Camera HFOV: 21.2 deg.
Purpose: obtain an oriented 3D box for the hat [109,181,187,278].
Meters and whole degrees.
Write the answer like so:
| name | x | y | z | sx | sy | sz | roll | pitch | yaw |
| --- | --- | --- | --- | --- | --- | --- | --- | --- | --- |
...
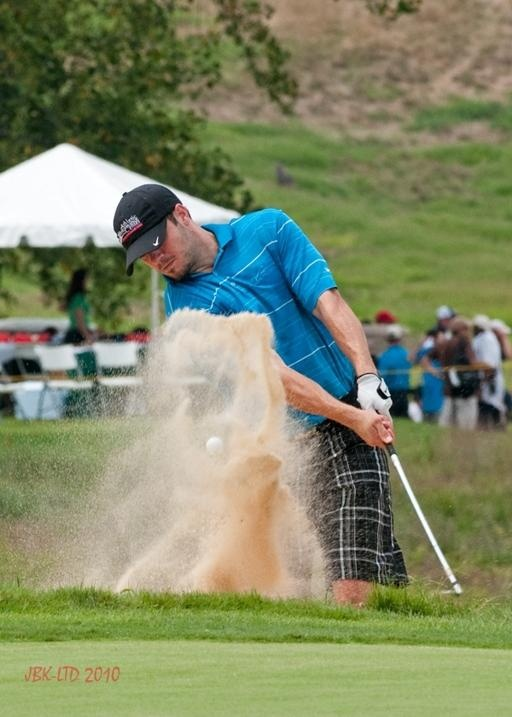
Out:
| name | x | y | z | sx | sy | sz | roll | pitch | yaw |
| --- | --- | --- | --- | --- | --- | --- | --- | --- | --- |
| hat | -0.409 | -0.498 | 5.171 | 0.234 | 0.200 | 0.329 | -27 | 22 | 42 |

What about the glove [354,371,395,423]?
| name | x | y | z | sx | sy | sz | roll | pitch | yaw |
| --- | --- | --- | --- | --- | --- | --- | --- | --- | --- |
| glove | 0.434 | 0.141 | 5.112 | 0.106 | 0.174 | 0.076 | -21 | 1 | -19 |

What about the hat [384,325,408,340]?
| name | x | y | z | sx | sy | sz | roll | pitch | yaw |
| --- | --- | --- | --- | --- | --- | --- | --- | --- | --- |
| hat | 1.179 | -0.231 | 11.782 | 0.214 | 0.124 | 0.275 | -1 | 0 | 8 |
